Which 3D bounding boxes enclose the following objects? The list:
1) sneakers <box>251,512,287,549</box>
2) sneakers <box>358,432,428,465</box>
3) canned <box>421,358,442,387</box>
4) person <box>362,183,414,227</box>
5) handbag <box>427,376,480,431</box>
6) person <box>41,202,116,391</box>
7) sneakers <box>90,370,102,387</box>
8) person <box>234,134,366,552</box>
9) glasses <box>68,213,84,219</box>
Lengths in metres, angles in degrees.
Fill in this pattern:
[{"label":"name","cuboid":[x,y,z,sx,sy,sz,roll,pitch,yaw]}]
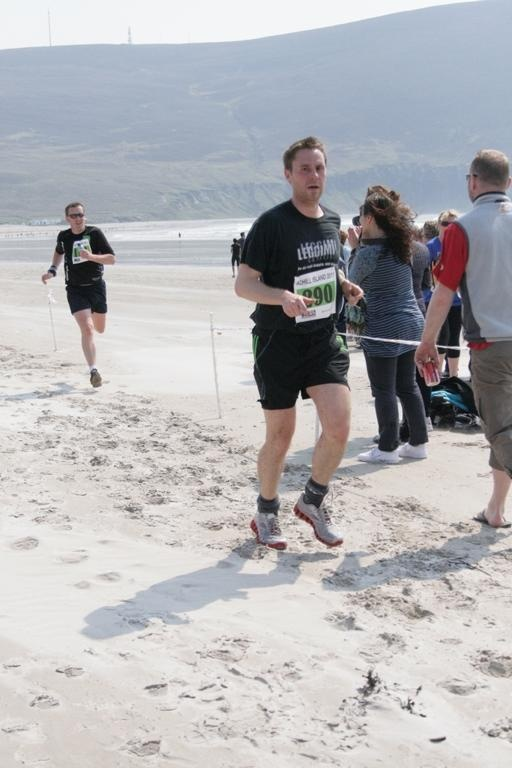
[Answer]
[{"label":"sneakers","cuboid":[0.055,0.724,3.927,0.108,0.105,0.250,1,6,-28]},{"label":"sneakers","cuboid":[0.991,0.501,5.811,0.568,0.198,0.174,1,1,-9]},{"label":"canned","cuboid":[0.837,-0.053,3.968,0.151,0.126,0.083,-9,-1,15]},{"label":"person","cuboid":[0.940,-1.254,5.554,0.328,0.313,0.732,5,10,9]},{"label":"handbag","cuboid":[1.639,0.119,6.947,0.463,0.125,0.328,28,22,35]},{"label":"person","cuboid":[-1.867,-0.981,8.321,0.700,1.814,1.309,0,12,-15]},{"label":"sneakers","cuboid":[-1.568,-0.040,7.851,0.087,0.095,0.212,-14,-31,-9]},{"label":"person","cuboid":[0.208,-0.126,3.643,0.620,1.965,0.584,-6,15,-38]},{"label":"glasses","cuboid":[-1.840,-1.729,8.171,0.048,0.058,0.169,7,11,18]}]
